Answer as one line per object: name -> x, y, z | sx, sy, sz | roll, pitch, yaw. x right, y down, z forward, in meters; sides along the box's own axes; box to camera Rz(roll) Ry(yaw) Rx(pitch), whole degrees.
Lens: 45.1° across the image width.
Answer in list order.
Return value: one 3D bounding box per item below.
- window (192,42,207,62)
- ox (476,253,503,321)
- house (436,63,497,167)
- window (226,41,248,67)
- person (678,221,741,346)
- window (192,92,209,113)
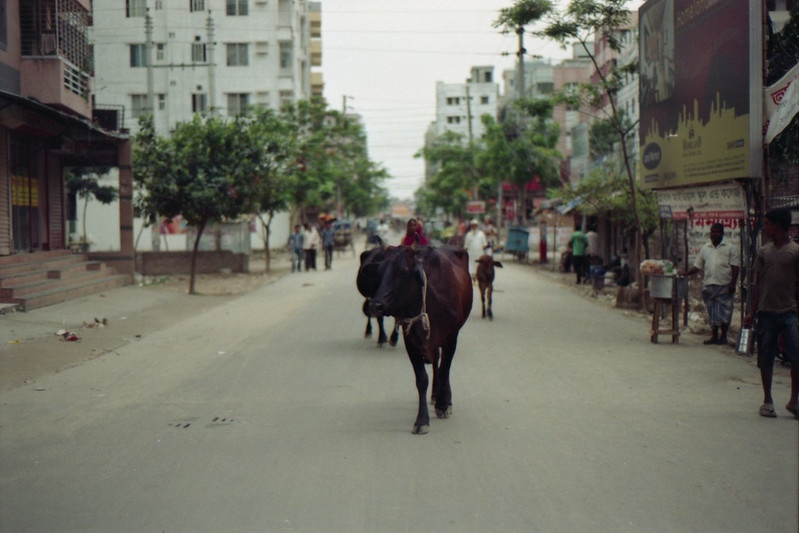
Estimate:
window -> -12.202, -12.972, 57.960 | 0.852, 1.476, 1.178 | 0, 4, 3
ox -> 2.153, 0.395, 24.984 | 0.682, 1.542, 2.446 | 0, 3, -4
house -> 8.020, -20.963, 111.280 | 7.060, 6.432, 10.860 | 1, -38, 3
window -> -10.089, -13.118, 59.101 | 1.265, 1.535, 0.107 | -1, 2, 3
person -> 6.749, 0.343, 20.526 | 0.937, 2.720, 0.945 | 4, 28, 28
window -> -12.059, -9.863, 57.330 | 0.946, 1.017, 1.057 | -2, 9, -13
